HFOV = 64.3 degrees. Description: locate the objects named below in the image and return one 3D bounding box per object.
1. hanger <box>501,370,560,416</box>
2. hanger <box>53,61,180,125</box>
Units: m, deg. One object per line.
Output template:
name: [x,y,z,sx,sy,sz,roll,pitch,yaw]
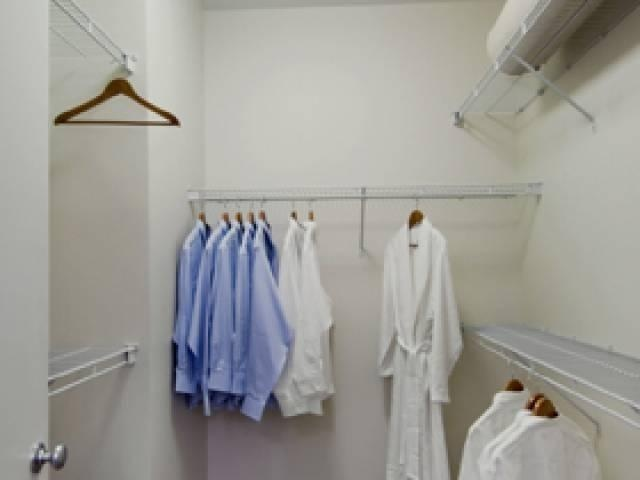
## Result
hanger: [0.810,0.595,1.974,0.100,0.074,0.286,1,9,-6]
hanger: [-0.848,-0.613,2.170,0.468,0.264,0.321,-1,9,-16]
